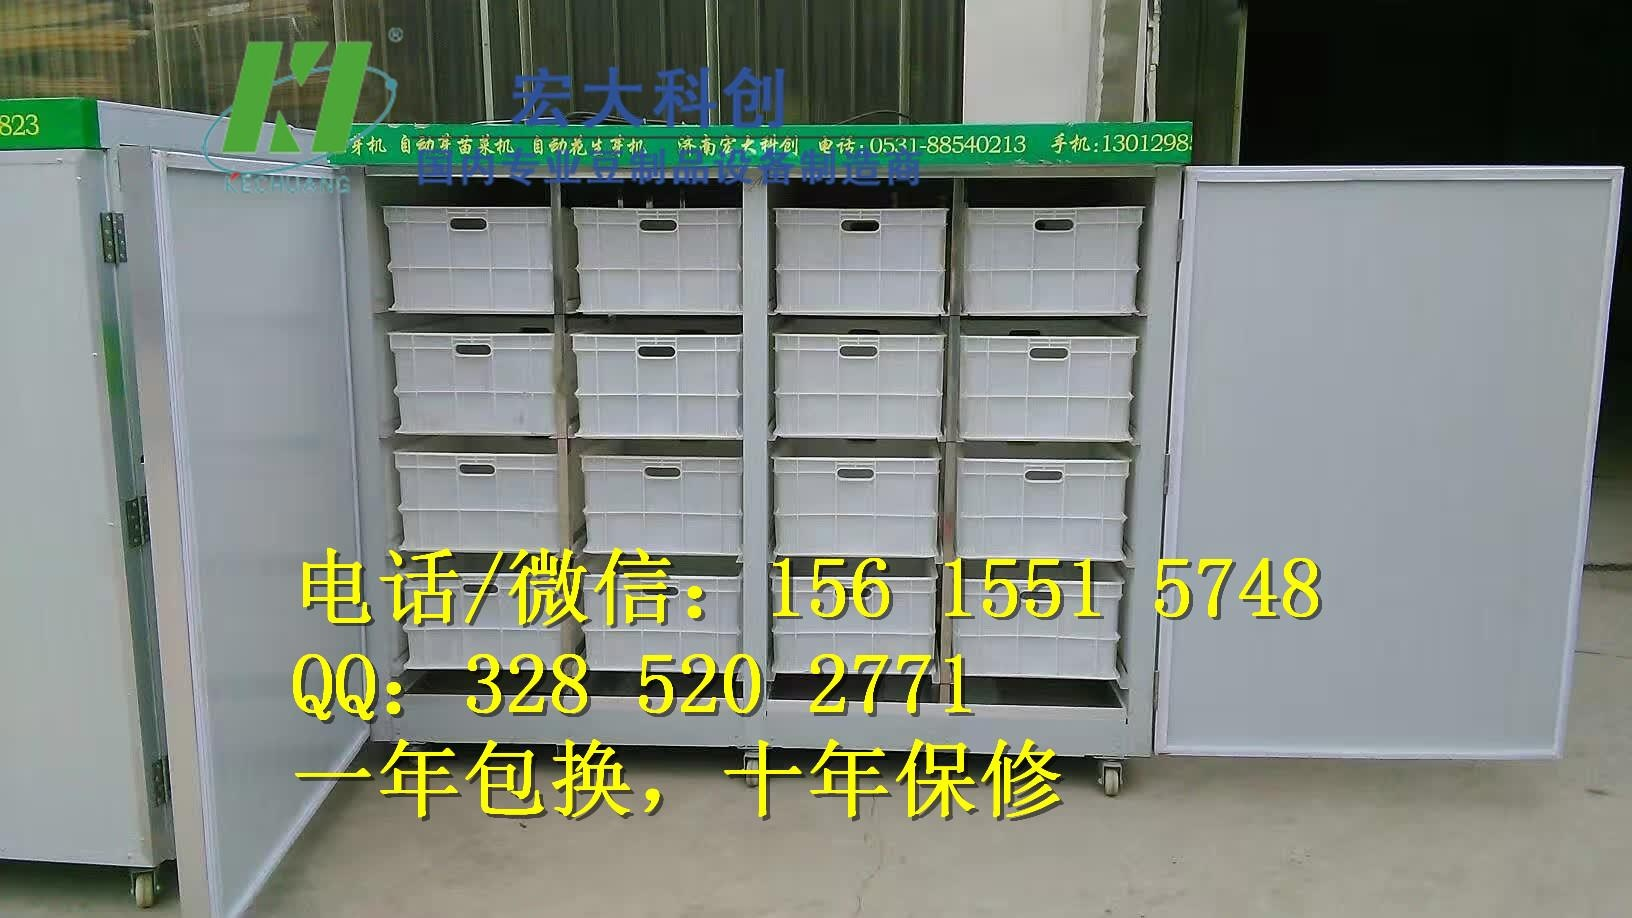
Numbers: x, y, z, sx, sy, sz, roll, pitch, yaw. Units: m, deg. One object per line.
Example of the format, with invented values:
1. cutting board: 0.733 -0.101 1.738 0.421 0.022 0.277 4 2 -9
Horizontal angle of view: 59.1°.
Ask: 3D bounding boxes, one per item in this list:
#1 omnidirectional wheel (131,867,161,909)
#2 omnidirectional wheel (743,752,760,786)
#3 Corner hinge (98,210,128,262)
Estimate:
1. omnidirectional wheel: -2.606 1.651 5.586 0.092 0.172 0.123 -2 9 -18
2. omnidirectional wheel: -0.272 1.301 6.065 0.068 0.176 0.147 -1 4 5
3. Corner hinge: -2.578 -0.815 5.255 0.080 0.191 0.023 -2 9 -16
